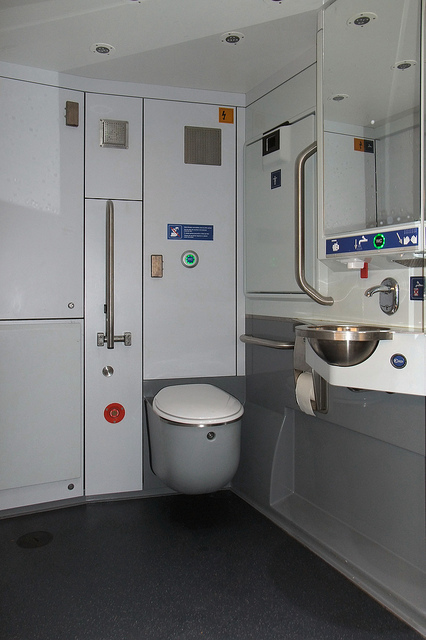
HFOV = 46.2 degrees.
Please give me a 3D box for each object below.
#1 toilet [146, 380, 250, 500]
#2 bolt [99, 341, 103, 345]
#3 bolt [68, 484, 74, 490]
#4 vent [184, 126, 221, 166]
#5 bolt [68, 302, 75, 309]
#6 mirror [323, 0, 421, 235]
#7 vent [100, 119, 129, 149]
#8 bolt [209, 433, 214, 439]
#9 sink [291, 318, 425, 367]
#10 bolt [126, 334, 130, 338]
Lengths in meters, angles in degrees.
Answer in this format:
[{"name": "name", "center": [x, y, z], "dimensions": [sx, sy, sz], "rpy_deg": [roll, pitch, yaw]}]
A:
[{"name": "toilet", "center": [-0.115, 0.507, 2.349], "dimensions": [0.433, 0.548, 0.541], "rpy_deg": [0, -1, -20]}, {"name": "bolt", "center": [-0.559, 0.112, 2.486], "dimensions": [0.013, 0.016, 0.003], "rpy_deg": [-2, 6, -13]}, {"name": "bolt", "center": [-0.702, 0.821, 2.468], "dimensions": [0.028, 0.027, 0.004], "rpy_deg": [-3, 6, -24]}, {"name": "vent", "center": [-0.046, -0.913, 2.629], "dimensions": [0.193, 0.193, 0.022], "rpy_deg": [6, 44, 2]}, {"name": "bolt", "center": [-0.692, -0.074, 2.436], "dimensions": [0.031, 0.025, 0.006], "rpy_deg": [-7, 8, -43]}, {"name": "mirror", "center": [0.441, -0.629, 1.450], "dimensions": [0.091, 0.733, 0.487], "rpy_deg": [-2, 6, -11]}, {"name": "vent", "center": [-0.496, -0.921, 2.469], "dimensions": [0.134, 0.147, 0.015], "rpy_deg": [-6, 10, -29]}, {"name": "bolt", "center": [-0.008, 0.487, 2.118], "dimensions": [0.016, 0.018, 0.010], "rpy_deg": [1, 2, -5]}, {"name": "sink", "center": [0.407, 0.057, 1.557], "dimensions": [0.309, 0.122, 0.624], "rpy_deg": [-1, 7, -4]}, {"name": "bolt", "center": [-0.431, 0.079, 2.531], "dimensions": [0.017, 0.016, 0.004], "rpy_deg": [-3, 6, -20]}]
